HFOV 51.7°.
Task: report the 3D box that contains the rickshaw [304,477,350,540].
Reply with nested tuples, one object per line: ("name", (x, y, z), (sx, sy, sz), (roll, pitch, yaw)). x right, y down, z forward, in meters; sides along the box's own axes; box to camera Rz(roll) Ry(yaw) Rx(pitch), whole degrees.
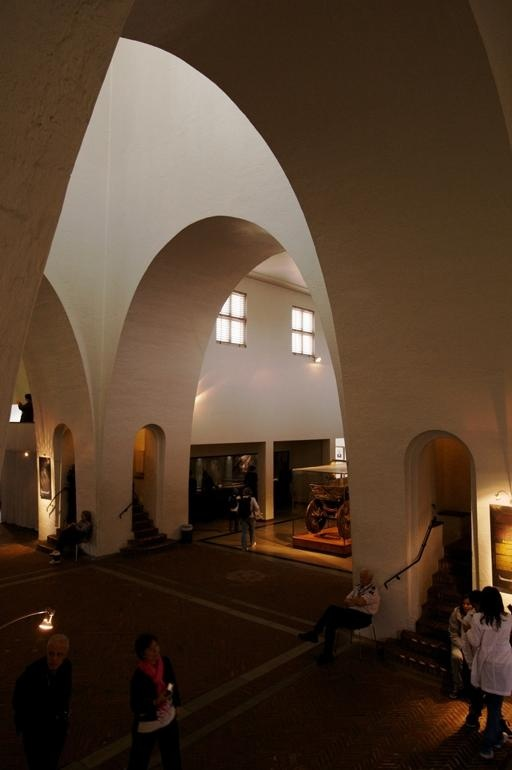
("rickshaw", (1.949, 3.268, 13.852), (0.687, 1.438, 1.488), (3, -6, -32))

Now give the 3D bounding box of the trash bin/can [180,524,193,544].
("trash bin/can", (-1.847, 4.061, 14.366), (0.341, 0.454, 0.384), (-1, -1, 10))

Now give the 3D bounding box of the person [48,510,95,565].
("person", (-4.324, 3.585, 12.502), (0.450, 1.100, 0.920), (-4, -6, 39))

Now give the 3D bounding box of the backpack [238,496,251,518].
("backpack", (-0.271, 3.081, 13.204), (0.318, 0.596, 0.226), (0, -5, -1))

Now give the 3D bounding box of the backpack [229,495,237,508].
("backpack", (-0.660, 3.422, 15.460), (0.179, 0.384, 0.495), (0, -5, -6))
